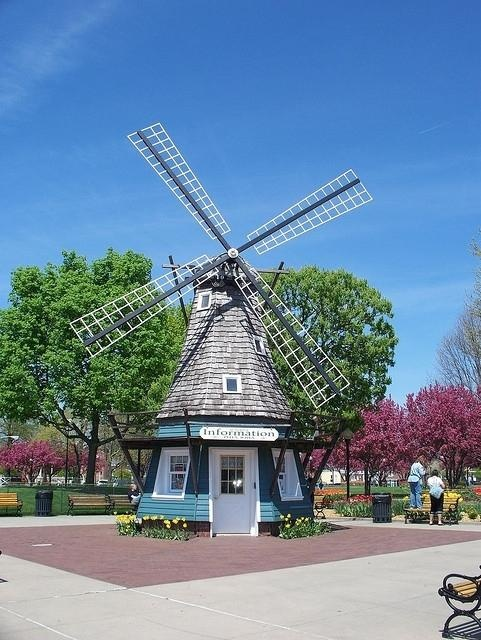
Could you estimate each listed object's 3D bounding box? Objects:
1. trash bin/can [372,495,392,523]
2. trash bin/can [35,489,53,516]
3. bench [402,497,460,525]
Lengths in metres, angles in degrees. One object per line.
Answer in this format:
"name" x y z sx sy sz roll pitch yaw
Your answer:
"trash bin/can" 5.042 6.705 23.654 0.630 0.985 0.572 0 -11 8
"trash bin/can" -8.325 7.770 28.128 0.684 1.077 0.817 4 -12 -16
"bench" 6.782 6.743 23.429 1.987 0.969 0.885 -11 -30 28
